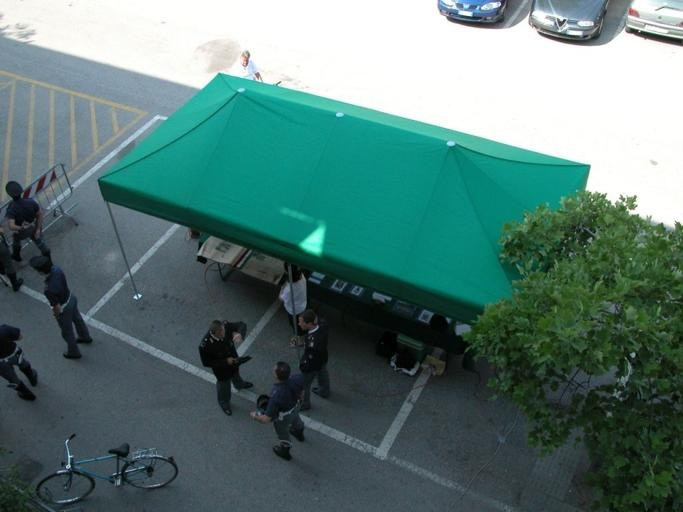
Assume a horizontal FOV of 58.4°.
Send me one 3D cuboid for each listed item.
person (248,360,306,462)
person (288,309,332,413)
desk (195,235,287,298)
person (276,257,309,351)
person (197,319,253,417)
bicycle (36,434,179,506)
[{"bbox_3d":[-0.930,2.355,9.543,0.593,2.101,0.957,31,52,29],"label":"person"},{"bbox_3d":[-0.509,1.777,9.976,0.556,1.624,0.546,18,61,6],"label":"person"},{"bbox_3d":[-1.818,0.123,12.055,1.314,0.359,1.141,20,58,0],"label":"desk"},{"bbox_3d":[-0.829,0.836,10.637,0.452,1.593,0.484,22,63,13],"label":"person"},{"bbox_3d":[-1.774,1.778,9.922,0.634,2.025,0.820,32,54,32],"label":"person"},{"bbox_3d":[-3.642,3.394,9.548,1.946,1.001,0.615,-4,57,-1],"label":"bicycle"}]
